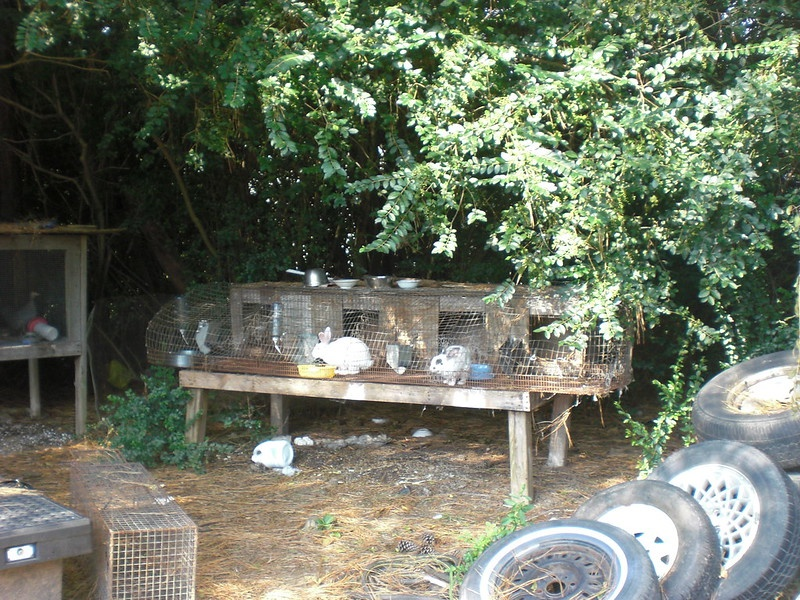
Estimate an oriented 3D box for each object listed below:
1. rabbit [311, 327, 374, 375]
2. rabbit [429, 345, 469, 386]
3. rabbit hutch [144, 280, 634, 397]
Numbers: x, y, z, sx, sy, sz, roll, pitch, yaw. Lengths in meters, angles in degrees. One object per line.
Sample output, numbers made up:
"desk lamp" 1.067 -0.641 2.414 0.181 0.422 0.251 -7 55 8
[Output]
"rabbit" -0.533 0.460 7.085 0.558 0.419 0.218 2 11 6
"rabbit" 0.436 0.577 6.793 0.289 0.297 0.484 -1 6 44
"rabbit hutch" -0.255 0.237 7.636 4.526 0.697 1.382 1 19 17
